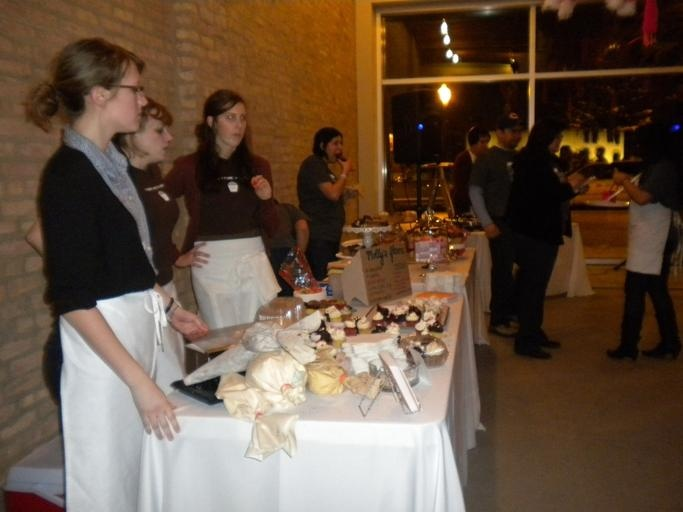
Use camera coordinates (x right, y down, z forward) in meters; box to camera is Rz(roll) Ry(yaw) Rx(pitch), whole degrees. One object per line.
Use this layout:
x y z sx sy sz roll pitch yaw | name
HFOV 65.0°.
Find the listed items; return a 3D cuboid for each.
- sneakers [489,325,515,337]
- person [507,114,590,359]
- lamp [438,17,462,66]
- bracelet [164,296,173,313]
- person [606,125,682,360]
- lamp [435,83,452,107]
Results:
1.390 0.653 4.647 0.178 0.079 0.084 2 9 26 | sneakers
1.509 -0.091 4.021 0.514 1.785 0.421 3 12 22 | person
1.662 -3.293 8.207 0.293 0.661 0.099 0 11 7 | lamp
-0.626 0.180 1.966 0.012 0.045 0.031 19 -14 -29 | bracelet
2.215 -0.059 3.880 0.517 1.723 0.384 -8 13 -29 | person
1.576 -2.475 8.181 0.213 0.332 0.120 0 12 8 | lamp
